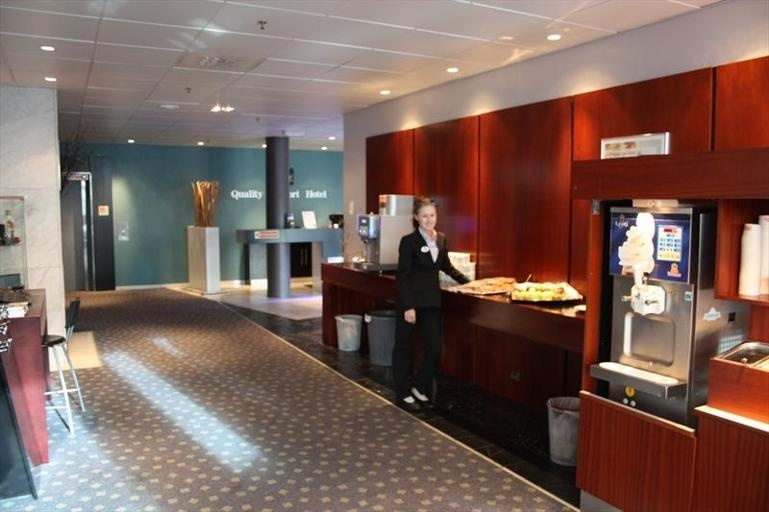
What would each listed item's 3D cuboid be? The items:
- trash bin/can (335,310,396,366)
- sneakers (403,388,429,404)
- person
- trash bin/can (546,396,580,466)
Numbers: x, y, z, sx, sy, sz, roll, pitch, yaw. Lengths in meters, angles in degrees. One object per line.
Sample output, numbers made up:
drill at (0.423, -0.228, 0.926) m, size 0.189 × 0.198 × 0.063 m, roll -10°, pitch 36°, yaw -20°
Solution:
trash bin/can at (-0.237, 1.075, 7.308) m, size 0.482 × 0.499 × 1.062 m, roll -1°, pitch 1°, yaw -33°
sneakers at (0.343, 1.533, 5.776) m, size 0.126 × 0.129 × 0.366 m, roll 2°, pitch -6°, yaw -35°
person at (0.477, 0.482, 6.027) m, size 0.668 × 2.273 × 1.172 m, roll 1°, pitch 8°, yaw 7°
trash bin/can at (1.576, 1.550, 4.698) m, size 0.264 × 0.489 × 0.442 m, roll 3°, pitch 9°, yaw 19°
